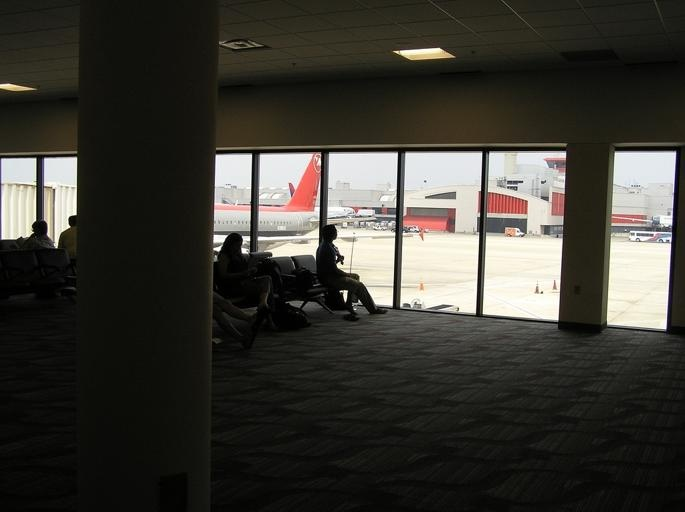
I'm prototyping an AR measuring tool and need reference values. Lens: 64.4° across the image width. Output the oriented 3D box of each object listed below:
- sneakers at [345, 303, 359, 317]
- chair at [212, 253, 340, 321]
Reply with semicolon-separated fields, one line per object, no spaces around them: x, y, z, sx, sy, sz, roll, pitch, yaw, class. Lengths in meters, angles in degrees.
0.158;0.864;8.455;0.202;0.203;0.411;2;5;2;sneakers
-0.760;0.358;7.963;1.055;0.939;2.149;1;2;28;chair
